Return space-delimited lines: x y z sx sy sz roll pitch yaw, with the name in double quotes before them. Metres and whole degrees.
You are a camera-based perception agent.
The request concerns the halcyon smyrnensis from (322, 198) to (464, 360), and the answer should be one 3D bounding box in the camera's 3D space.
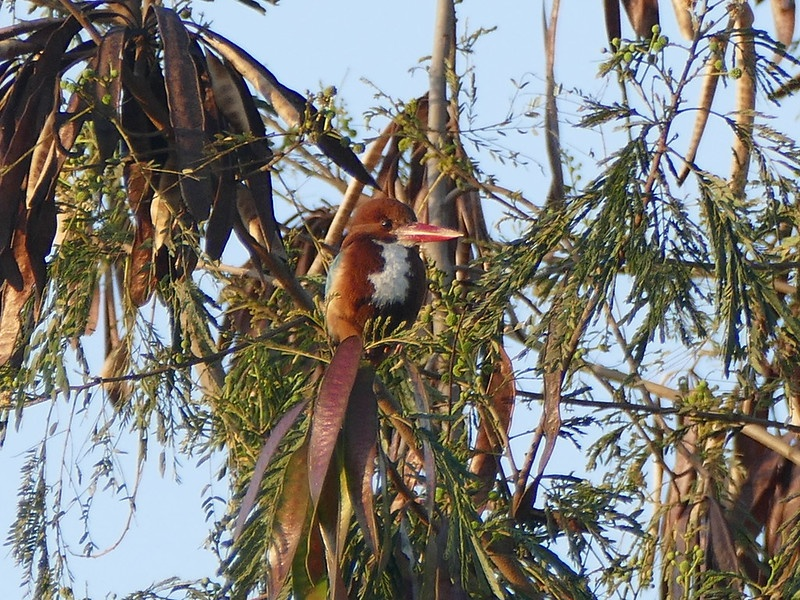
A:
"halcyon smyrnensis" -0.098 -0.112 9.263 0.369 0.608 0.605 8 -94 -44
